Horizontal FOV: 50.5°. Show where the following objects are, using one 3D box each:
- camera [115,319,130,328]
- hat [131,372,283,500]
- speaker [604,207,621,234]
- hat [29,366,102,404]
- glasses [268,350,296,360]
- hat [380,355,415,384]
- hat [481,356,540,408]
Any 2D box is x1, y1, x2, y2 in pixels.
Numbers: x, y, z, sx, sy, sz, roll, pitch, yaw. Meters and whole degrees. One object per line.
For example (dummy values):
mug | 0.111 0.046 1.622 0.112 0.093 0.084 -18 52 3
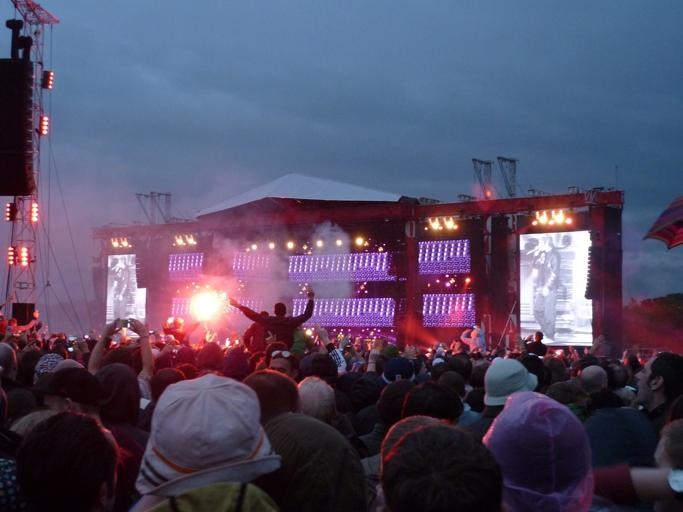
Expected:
camera | -2.649 0.798 8.746 0.086 0.132 0.191 2 0 22
hat | -0.785 1.020 4.077 0.671 0.360 0.741 -5 5 -15
speaker | 11.980 -1.561 31.762 0.445 1.207 1.940 -4 -5 34
hat | -2.238 1.051 5.900 0.482 0.237 0.325 19 -4 7
glasses | -0.633 1.031 7.663 0.245 0.067 0.191 1 -4 -23
hat | 0.669 1.322 8.525 0.312 0.199 0.396 1 10 5
hat | 1.518 1.135 6.567 0.421 0.411 0.417 -4 -5 32
